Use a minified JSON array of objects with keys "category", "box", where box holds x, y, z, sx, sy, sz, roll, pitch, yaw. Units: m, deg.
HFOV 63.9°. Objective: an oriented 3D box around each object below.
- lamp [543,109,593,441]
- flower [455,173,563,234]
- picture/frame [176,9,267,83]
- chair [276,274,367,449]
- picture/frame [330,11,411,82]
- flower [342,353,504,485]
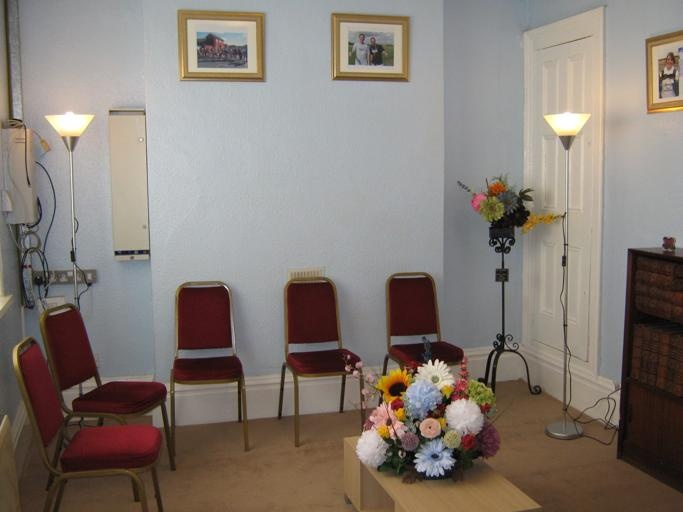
[{"category":"lamp","box":[1.714,0.085,4.199,0.300,2.378,0.919,2,10,24]},{"category":"flower","box":[1.368,-0.389,4.633,0.560,0.308,0.625,9,2,2]},{"category":"picture/frame","box":[-0.933,-1.601,4.120,0.509,0.427,0.022,-1,12,-11]},{"category":"chair","box":[-0.172,0.743,4.190,0.680,1.117,0.633,-4,9,-8]},{"category":"picture/frame","box":[0.197,-1.675,4.332,0.510,0.446,0.023,-1,13,-9]},{"category":"flower","box":[0.429,0.784,2.845,0.611,0.430,0.620,-4,-11,26]}]
